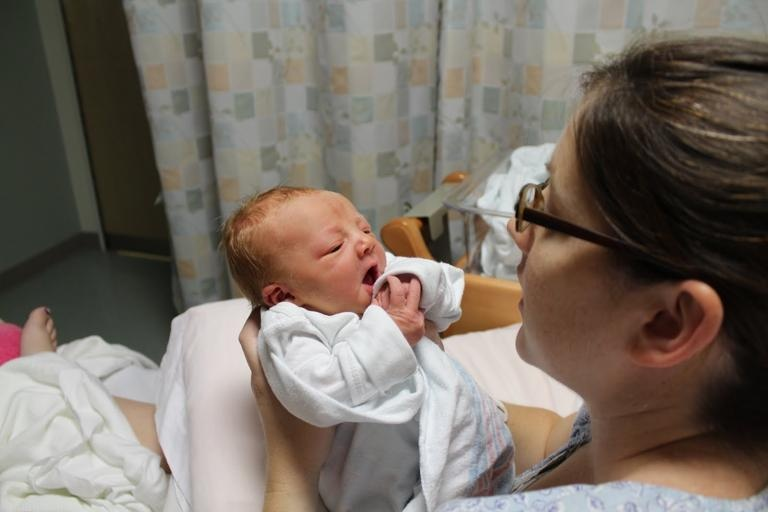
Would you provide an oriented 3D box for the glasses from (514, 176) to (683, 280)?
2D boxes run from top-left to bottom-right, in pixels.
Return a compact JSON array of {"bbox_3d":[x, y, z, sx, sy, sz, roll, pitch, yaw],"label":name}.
[{"bbox_3d":[0.341,-0.039,1.055,0.177,0.057,0.178,22,11,-1],"label":"glasses"}]
